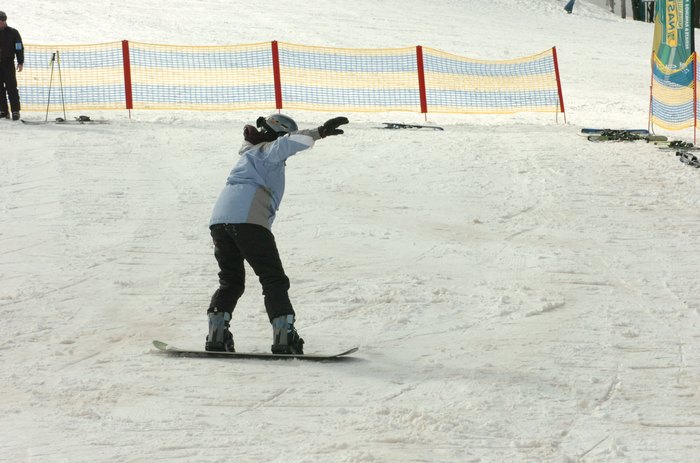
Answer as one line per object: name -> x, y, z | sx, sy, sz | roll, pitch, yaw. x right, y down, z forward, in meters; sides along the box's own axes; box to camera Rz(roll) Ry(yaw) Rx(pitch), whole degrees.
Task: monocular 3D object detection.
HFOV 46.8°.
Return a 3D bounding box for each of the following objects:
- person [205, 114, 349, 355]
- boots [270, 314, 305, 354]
person -> -0.883, 0.041, 8.437 | 1.223, 2.497, 1.090 | 1, 18, 0
boots -> -0.637, 1.071, 8.357 | 0.329, 0.439, 0.253 | 0, 17, -4
